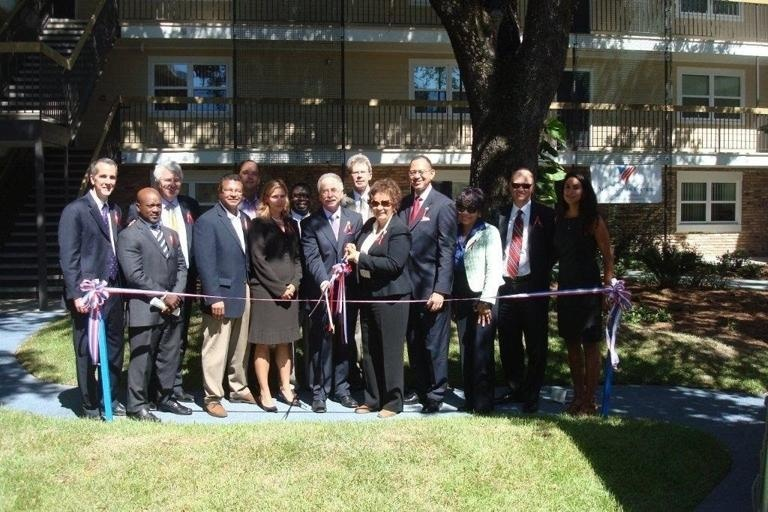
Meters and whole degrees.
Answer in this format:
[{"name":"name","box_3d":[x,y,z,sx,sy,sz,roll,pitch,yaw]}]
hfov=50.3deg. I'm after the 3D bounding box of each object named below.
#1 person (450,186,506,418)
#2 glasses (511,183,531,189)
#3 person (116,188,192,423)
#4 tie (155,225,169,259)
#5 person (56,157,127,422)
[{"name":"person","box_3d":[1.497,0.686,12.764,0.633,3.342,1.033,-5,11,-34]},{"name":"glasses","box_3d":[2.159,-1.044,12.745,0.316,0.129,0.094,3,10,8]},{"name":"person","box_3d":[-3.499,0.730,12.524,0.982,3.392,0.819,-3,10,-25]},{"name":"tie","box_3d":[-3.410,-0.189,12.655,0.101,0.630,0.161,-11,3,4]},{"name":"person","box_3d":[-4.444,0.508,12.493,0.902,3.833,0.750,-3,10,-24]}]
